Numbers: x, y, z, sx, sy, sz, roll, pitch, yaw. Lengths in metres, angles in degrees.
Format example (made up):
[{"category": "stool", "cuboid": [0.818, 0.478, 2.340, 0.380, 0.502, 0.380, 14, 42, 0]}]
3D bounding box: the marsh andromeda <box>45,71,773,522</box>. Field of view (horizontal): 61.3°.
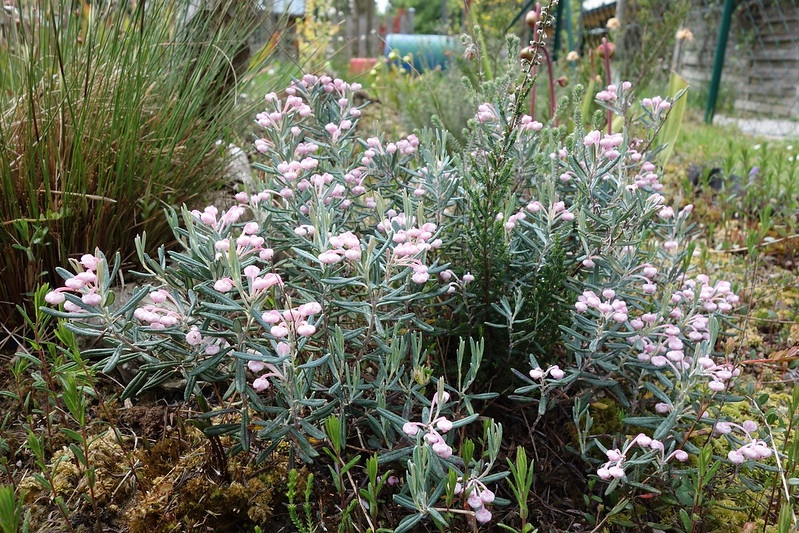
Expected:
[{"category": "marsh andromeda", "cuboid": [0.174, 0.393, 2.900, 1.747, 1.510, 1.934, 1, 23, 3]}]
